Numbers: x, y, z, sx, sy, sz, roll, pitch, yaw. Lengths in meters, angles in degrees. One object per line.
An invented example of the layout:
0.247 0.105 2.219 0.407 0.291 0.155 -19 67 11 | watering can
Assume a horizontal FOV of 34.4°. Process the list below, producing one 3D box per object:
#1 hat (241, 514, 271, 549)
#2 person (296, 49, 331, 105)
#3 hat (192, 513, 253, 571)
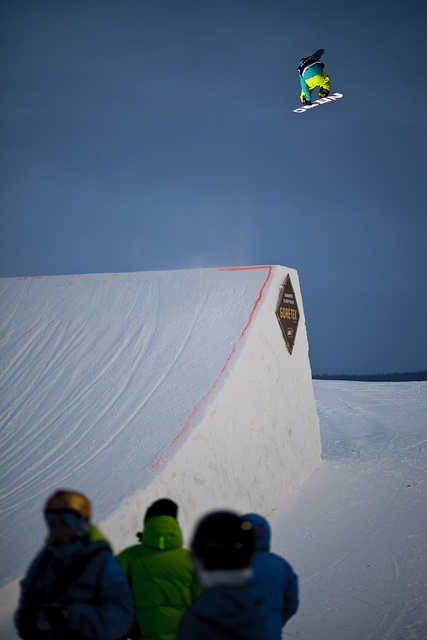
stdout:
0.191 0.855 2.765 0.046 0.168 0.127 -9 15 32 | hat
1.103 -2.735 7.560 0.338 0.554 0.850 -1 1 9 | person
0.042 0.832 2.571 0.175 0.187 0.233 5 26 12 | hat
